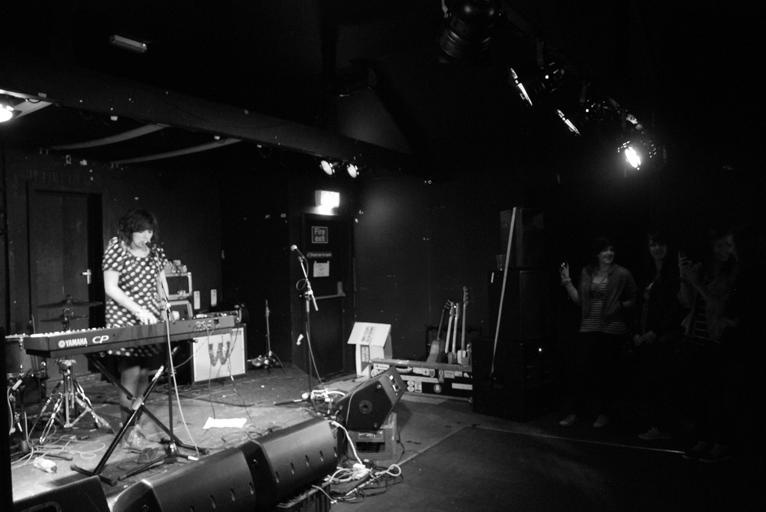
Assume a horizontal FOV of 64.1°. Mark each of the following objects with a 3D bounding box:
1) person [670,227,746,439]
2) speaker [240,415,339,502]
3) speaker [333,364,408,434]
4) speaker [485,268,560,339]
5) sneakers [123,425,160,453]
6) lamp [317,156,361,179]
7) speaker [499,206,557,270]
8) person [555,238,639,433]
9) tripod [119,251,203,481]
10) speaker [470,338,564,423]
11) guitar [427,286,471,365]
[{"bbox_3d":[3.252,0.799,6.241,0.550,2.102,0.535,6,10,27],"label":"person"},{"bbox_3d":[-0.707,1.645,4.996,0.564,0.525,0.732,-20,-10,34],"label":"speaker"},{"bbox_3d":[-0.129,1.442,6.477,0.611,0.575,0.837,-1,8,9],"label":"speaker"},{"bbox_3d":[1.676,0.574,7.383,0.803,0.846,0.588,3,9,13],"label":"speaker"},{"bbox_3d":[-2.502,1.911,6.311,0.316,0.118,0.236,8,-4,31],"label":"sneakers"},{"bbox_3d":[-0.652,-1.317,9.135,0.374,0.205,0.373,-1,4,-45],"label":"lamp"},{"bbox_3d":[1.841,-0.156,7.658,0.564,0.778,0.550,6,0,-11],"label":"speaker"},{"bbox_3d":[2.536,0.863,7.028,0.649,2.071,0.389,5,10,23],"label":"person"},{"bbox_3d":[-2.190,1.075,6.040,0.835,1.875,0.892,-5,5,-33],"label":"tripod"},{"bbox_3d":[1.620,1.463,7.594,0.984,0.780,0.981,1,-4,-25],"label":"speaker"},{"bbox_3d":[0.909,0.916,8.326,0.541,0.956,0.786,2,8,9],"label":"guitar"}]
